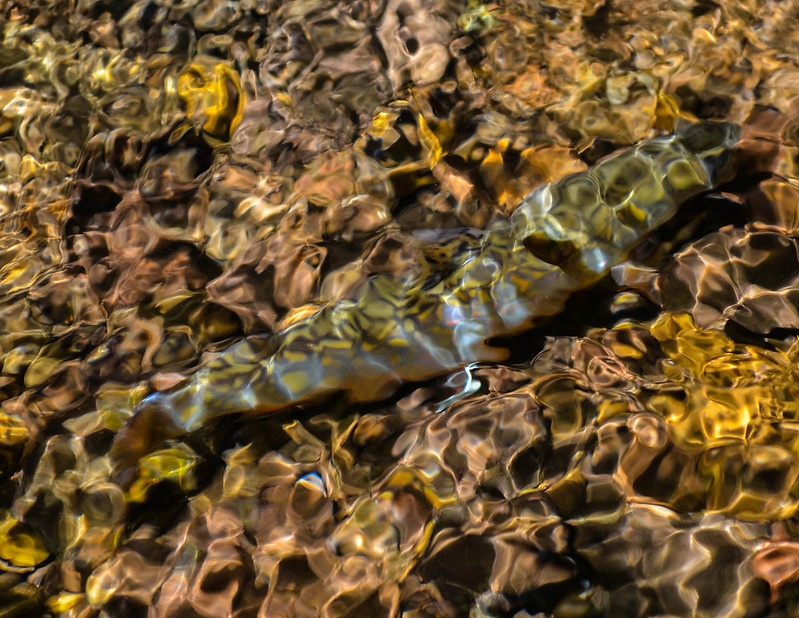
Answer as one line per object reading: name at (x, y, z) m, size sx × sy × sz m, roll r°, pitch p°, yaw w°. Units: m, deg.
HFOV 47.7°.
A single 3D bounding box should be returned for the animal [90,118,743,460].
animal at (0.110, -0.041, 1.628) m, size 1.219 × 0.367 × 0.335 m, roll -27°, pitch 35°, yaw -12°
